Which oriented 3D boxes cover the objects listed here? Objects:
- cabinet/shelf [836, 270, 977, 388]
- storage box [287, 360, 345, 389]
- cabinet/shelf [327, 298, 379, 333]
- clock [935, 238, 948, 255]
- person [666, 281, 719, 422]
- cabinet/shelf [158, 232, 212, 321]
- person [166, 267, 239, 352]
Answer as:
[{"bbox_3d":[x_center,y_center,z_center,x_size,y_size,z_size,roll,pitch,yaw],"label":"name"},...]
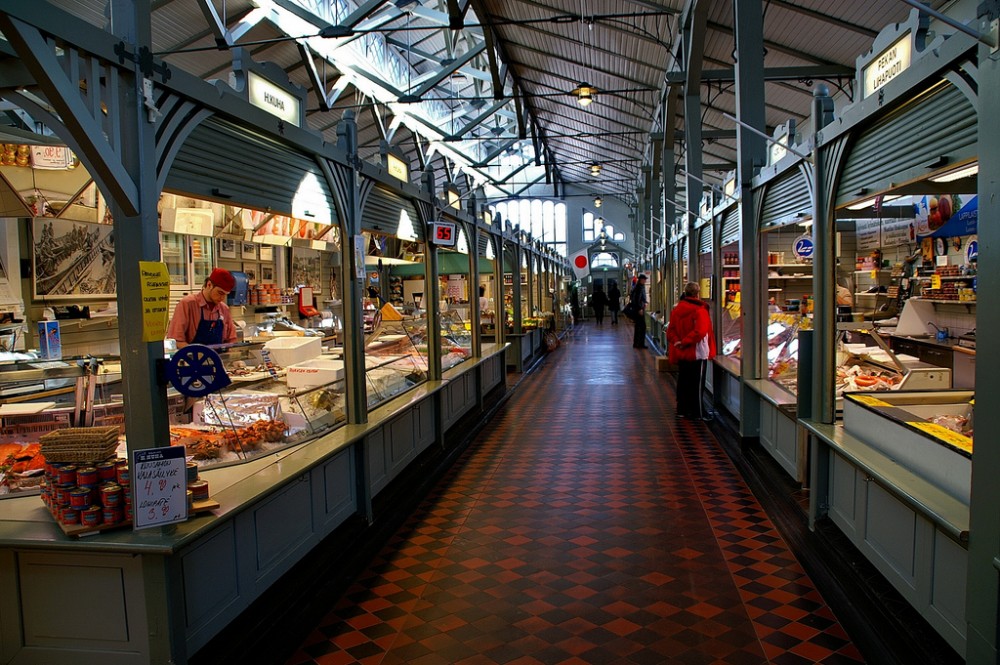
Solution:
[{"bbox_3d":[5.490,-0.061,9.110,0.913,1.635,1.620,1,3,13],"label":"cabinet/shelf"},{"bbox_3d":[-1.611,0.350,5.879,0.223,0.121,0.325,5,13,28],"label":"storage box"},{"bbox_3d":[-1.741,-0.205,8.201,0.549,0.546,0.459,0,8,10],"label":"cabinet/shelf"},{"bbox_3d":[6.718,-1.322,10.400,0.095,0.341,0.258,0,1,7],"label":"clock"},{"bbox_3d":[2.672,0.234,9.595,0.628,1.910,0.727,1,7,17],"label":"person"},{"bbox_3d":[-3.742,-0.701,8.091,0.398,1.158,1.198,0,2,3],"label":"cabinet/shelf"},{"bbox_3d":[-2.747,-0.221,6.295,0.571,0.737,0.828,-4,8,-26],"label":"person"}]
